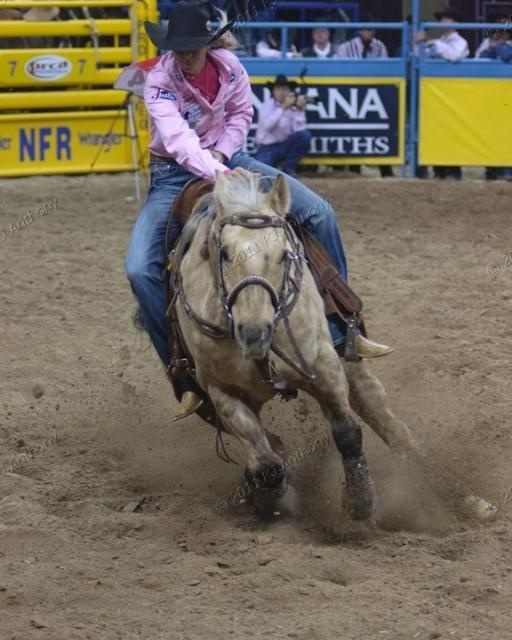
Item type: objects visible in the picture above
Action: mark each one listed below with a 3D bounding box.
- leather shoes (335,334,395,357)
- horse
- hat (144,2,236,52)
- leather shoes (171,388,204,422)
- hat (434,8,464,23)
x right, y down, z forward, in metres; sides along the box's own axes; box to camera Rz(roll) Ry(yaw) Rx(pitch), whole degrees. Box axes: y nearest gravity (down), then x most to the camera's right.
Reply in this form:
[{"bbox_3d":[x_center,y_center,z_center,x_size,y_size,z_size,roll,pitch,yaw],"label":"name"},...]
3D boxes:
[{"bbox_3d":[0.656,0.171,6.686,0.380,0.139,0.140,-4,8,20],"label":"leather shoes"},{"bbox_3d":[0.172,0.358,6.623,1.012,1.875,3.125,-12,-5,2],"label":"horse"},{"bbox_3d":[-0.405,-1.736,6.283,0.491,0.320,0.501,1,12,-4],"label":"hat"},{"bbox_3d":[-0.410,0.513,6.654,0.109,0.105,0.278,-11,3,21],"label":"leather shoes"},{"bbox_3d":[1.967,-3.092,10.794,0.248,0.084,0.256,2,-15,9],"label":"hat"}]
